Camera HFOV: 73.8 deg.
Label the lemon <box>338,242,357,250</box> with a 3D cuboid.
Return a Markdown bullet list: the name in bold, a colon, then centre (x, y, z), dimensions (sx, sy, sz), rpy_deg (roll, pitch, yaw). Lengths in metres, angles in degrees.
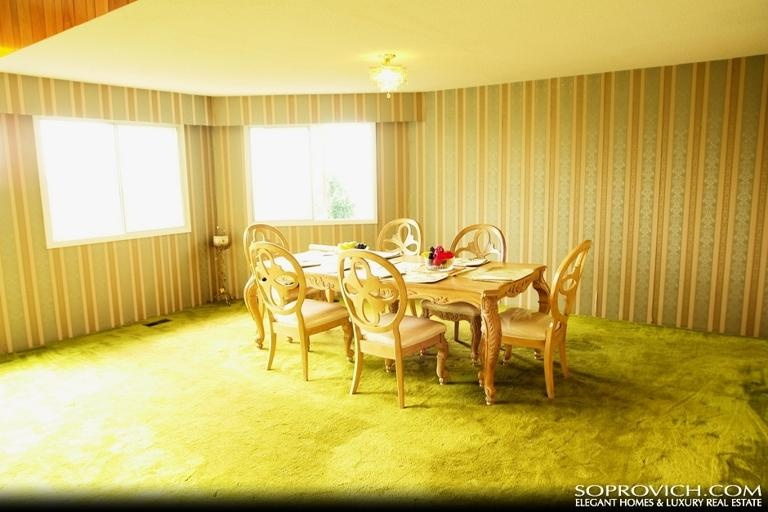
- **lemon**: centre (-0.360, -0.085, 5.194), dimensions (0.149, 0.065, 0.161), rpy_deg (-2, 10, 5)

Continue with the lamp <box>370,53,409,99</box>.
- **lamp**: centre (0.096, -1.817, 5.138), dimensions (0.376, 0.402, 0.361), rpy_deg (-4, 20, -10)

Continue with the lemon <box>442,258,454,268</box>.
- **lemon**: centre (0.576, 0.052, 4.710), dimensions (0.085, 0.061, 0.084), rpy_deg (7, 21, 24)

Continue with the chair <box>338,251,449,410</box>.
- **chair**: centre (0.094, 0.563, 4.293), dimensions (0.866, 1.317, 0.439), rpy_deg (-5, 9, -6)

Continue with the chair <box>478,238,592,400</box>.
- **chair**: centre (1.315, 0.486, 4.521), dimensions (0.818, 1.189, 0.717), rpy_deg (4, 11, 31)

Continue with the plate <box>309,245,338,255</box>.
- **plate**: centre (-0.672, -0.071, 5.664), dimensions (0.390, 0.102, 0.092), rpy_deg (8, 14, 29)
